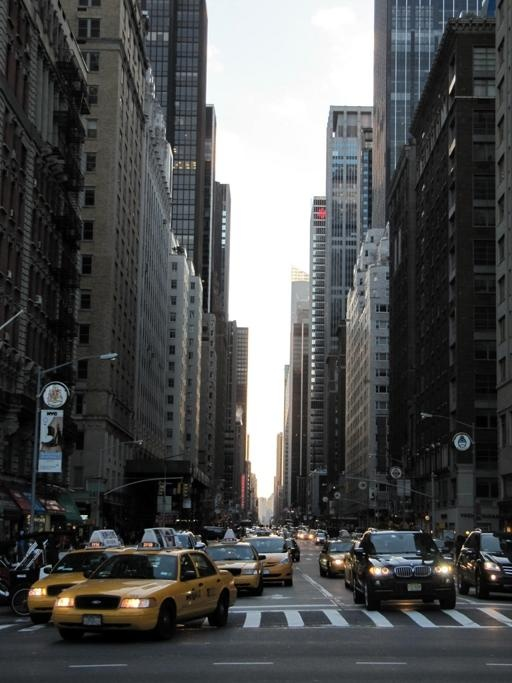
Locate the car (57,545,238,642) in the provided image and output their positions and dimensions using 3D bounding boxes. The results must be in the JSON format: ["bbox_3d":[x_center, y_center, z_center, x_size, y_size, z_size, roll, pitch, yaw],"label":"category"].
[{"bbox_3d":[-1.513,3.628,12.637,1.090,1.095,2.852,-4,-15,13],"label":"car"}]

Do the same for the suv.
[{"bbox_3d":[3.025,4.780,18.069,1.038,1.217,2.529,-1,-15,-1],"label":"suv"}]

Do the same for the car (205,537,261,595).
[{"bbox_3d":[-0.441,6.271,23.644,1.029,1.061,2.761,0,-18,2],"label":"car"}]

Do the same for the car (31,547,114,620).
[{"bbox_3d":[-3.638,4.593,16.137,0.759,0.909,2.294,-2,-8,4],"label":"car"}]

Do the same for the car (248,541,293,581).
[{"bbox_3d":[0.667,7.521,29.293,0.983,1.270,2.460,-1,-19,2],"label":"car"}]
